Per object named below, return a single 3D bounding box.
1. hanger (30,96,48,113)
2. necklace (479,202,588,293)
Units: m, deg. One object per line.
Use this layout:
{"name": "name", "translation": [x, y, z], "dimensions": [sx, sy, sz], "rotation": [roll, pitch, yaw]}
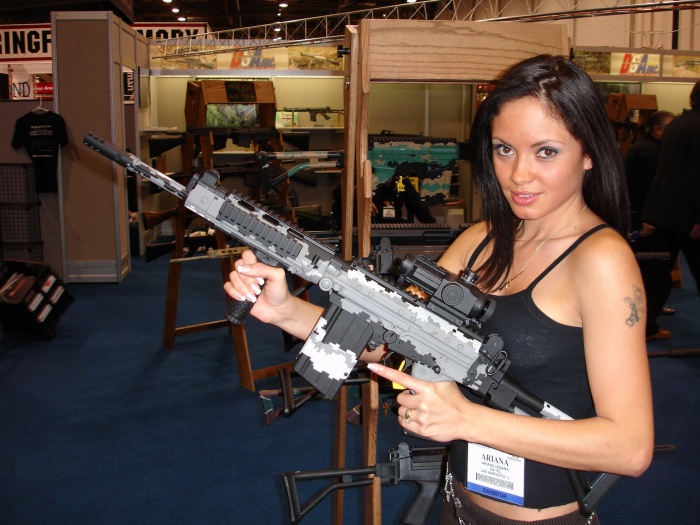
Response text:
{"name": "hanger", "translation": [-3.808, -1.904, 6.594], "dimensions": [0.179, 0.156, 0.253], "rotation": [-8, 17, -28]}
{"name": "necklace", "translation": [0.654, -0.070, 1.919], "dimensions": [0.079, 0.199, 0.344], "rotation": [-40, 3, 0]}
